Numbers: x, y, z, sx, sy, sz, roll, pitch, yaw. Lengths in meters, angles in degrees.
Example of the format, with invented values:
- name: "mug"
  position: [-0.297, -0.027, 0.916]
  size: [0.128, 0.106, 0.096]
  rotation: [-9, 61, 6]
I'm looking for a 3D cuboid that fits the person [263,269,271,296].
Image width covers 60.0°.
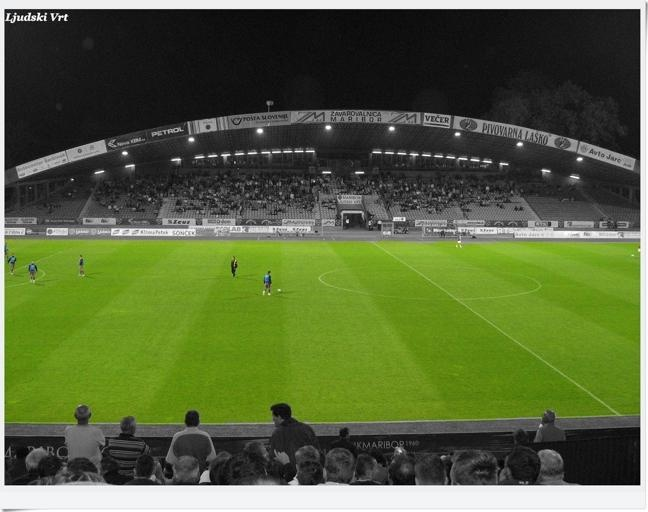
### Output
- name: "person"
  position: [-2.627, 1.273, 26.157]
  size: [0.395, 0.887, 1.768]
  rotation: [1, 1, -6]
